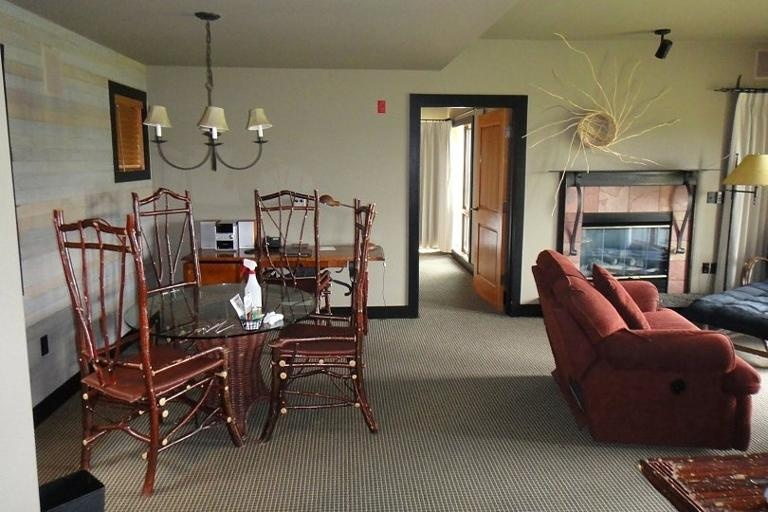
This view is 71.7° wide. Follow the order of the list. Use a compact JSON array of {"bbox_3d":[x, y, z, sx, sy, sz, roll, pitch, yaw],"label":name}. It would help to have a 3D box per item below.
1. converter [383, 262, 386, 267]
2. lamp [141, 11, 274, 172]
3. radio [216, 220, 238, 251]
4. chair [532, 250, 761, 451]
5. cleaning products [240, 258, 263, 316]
[{"bbox_3d":[0.009,0.092,6.180,0.043,0.065,0.013,-6,13,-37],"label":"converter"},{"bbox_3d":[-1.752,-1.675,5.200,1.089,1.460,1.227,-6,15,-31],"label":"lamp"},{"bbox_3d":[-1.628,-0.218,5.526,0.204,0.290,0.300,0,5,1],"label":"radio"},{"bbox_3d":[1.917,0.785,4.208,1.300,1.177,2.131,-3,4,1],"label":"chair"},{"bbox_3d":[-0.922,0.253,3.771,0.203,0.543,0.162,10,49,-6],"label":"cleaning products"}]
